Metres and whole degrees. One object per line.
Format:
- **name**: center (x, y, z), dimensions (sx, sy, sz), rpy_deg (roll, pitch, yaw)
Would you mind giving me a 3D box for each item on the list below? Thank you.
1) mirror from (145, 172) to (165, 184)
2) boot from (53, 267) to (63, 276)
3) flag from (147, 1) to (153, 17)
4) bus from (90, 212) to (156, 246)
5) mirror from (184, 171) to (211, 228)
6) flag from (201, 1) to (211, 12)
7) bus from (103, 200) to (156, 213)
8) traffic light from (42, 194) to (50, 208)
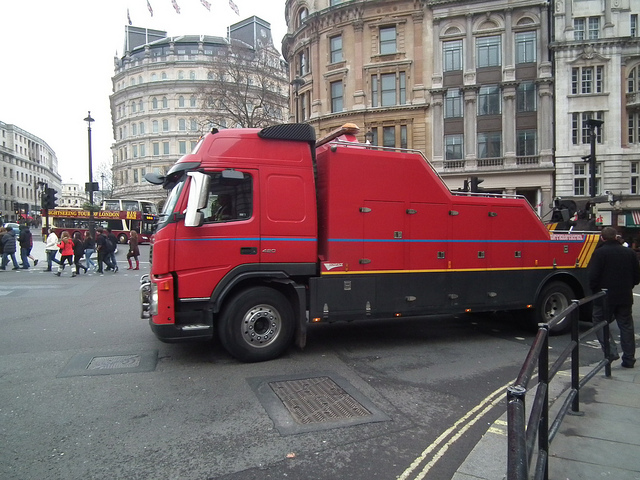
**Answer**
- **mirror**: center (-3.431, -1.253, 11.816), dimensions (0.347, 0.275, 0.128), rpy_deg (13, -38, 10)
- **boot**: center (-10.144, 1.212, 21.923), dimensions (0.332, 0.331, 0.163), rpy_deg (17, -15, 0)
- **flag**: center (-17.466, -23.413, 58.014), dimensions (0.400, 1.523, 2.456), rpy_deg (-2, 8, -18)
- **bus**: center (-12.317, -0.741, 35.061), dimensions (4.350, 2.389, 3.010), rpy_deg (4, 1, 28)
- **mirror**: center (-2.246, -0.722, 10.378), dimensions (0.459, 1.008, 0.281), rpy_deg (-2, 8, -15)
- **flag**: center (-10.338, -21.051, 51.641), dimensions (0.394, 0.749, 1.221), rpy_deg (3, 8, 20)
- **bus**: center (-15.329, -2.601, 43.985), dimensions (4.108, 1.196, 1.304), rpy_deg (-1, 4, -1)
- **traffic light**: center (-13.244, -1.870, 27.417), dimensions (0.274, 0.623, 0.753), rpy_deg (-4, 9, -31)
